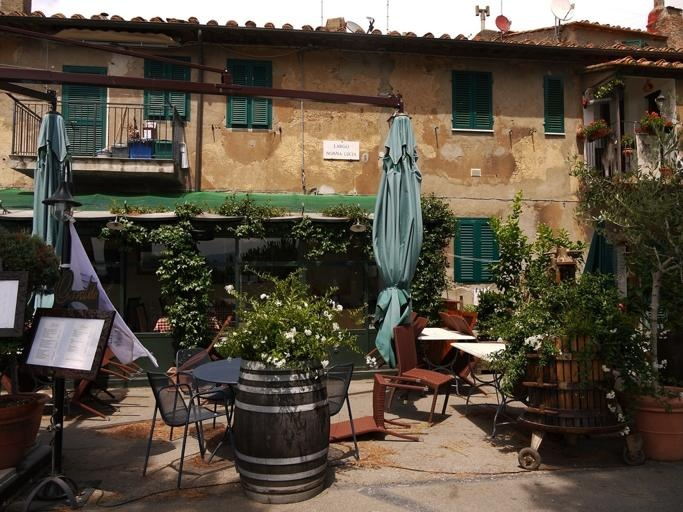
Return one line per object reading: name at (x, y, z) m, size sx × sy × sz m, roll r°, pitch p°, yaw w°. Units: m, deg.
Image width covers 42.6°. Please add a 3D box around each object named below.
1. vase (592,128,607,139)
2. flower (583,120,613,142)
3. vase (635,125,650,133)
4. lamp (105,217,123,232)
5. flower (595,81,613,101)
vase at (5.900, -2.821, 20.013) m, size 0.306 × 0.224 × 0.385 m, roll 2°, pitch 1°, yaw 18°
flower at (5.819, -2.869, 19.992) m, size 0.490 × 0.349 × 0.496 m, roll -5°, pitch 10°, yaw -7°
vase at (6.739, -2.909, 19.784) m, size 0.220 × 0.118 × 0.291 m, roll 3°, pitch 0°, yaw 7°
lamp at (-4.211, -0.527, 16.190) m, size 0.256 × 0.258 × 0.270 m, roll 12°, pitch 35°, yaw -23°
flower at (5.958, -3.788, 19.883) m, size 0.115 × 0.258 × 0.343 m, roll 7°, pitch -17°, yaw -15°
